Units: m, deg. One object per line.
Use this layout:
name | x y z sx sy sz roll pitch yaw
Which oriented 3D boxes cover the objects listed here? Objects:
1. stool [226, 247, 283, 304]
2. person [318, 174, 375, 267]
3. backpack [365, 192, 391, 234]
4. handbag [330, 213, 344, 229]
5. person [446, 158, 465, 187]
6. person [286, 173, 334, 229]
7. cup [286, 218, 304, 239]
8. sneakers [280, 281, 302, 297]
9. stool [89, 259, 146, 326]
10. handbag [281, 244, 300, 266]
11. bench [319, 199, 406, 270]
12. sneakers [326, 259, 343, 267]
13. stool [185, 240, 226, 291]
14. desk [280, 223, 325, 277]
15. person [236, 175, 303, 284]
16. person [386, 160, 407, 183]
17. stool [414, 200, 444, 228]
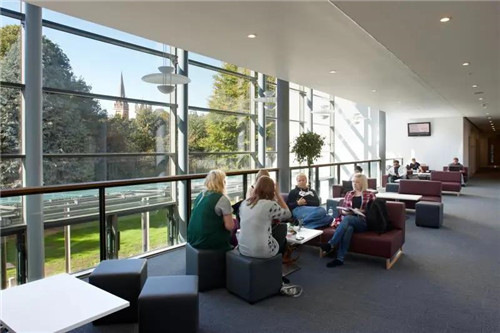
stool | 0.109 1.584 5.238 0.773 0.681 0.797 10 17 38
person | 1.898 1.105 6.696 1.286 2.056 0.853 24 -25 -30
backpack | 2.347 0.887 6.196 0.475 0.598 0.254 0 -5 -3
handbag | 1.709 1.073 6.541 0.261 0.081 0.198 -50 22 -17
person | 9.043 0.224 14.901 0.631 1.202 0.696 -1 -6 30
person | 1.172 0.696 6.768 0.705 1.137 0.869 5 -8 -37
cup | 0.792 1.134 5.938 0.212 0.139 0.309 1 3 37
sneakers | 0.604 1.864 5.137 0.185 0.100 0.256 10 -10 -36
stool | -1.726 1.734 4.816 0.774 0.744 0.767 1 -3 0
handbag | 0.735 1.627 6.226 0.294 0.392 0.405 3 -3 -43
bench | 2.236 1.236 6.661 1.444 1.009 1.394 3 5 29
sneakers | 1.496 1.719 6.017 0.309 0.111 0.118 3 -5 -19
stool | -0.706 1.578 5.424 0.530 0.540 0.530 4 1 -27
desk | 0.845 1.448 5.882 0.754 0.461 0.776 0 2 36
person | 0.223 1.008 5.356 0.730 1.572 0.948 5 12 43
person | 5.501 0.210 12.705 0.701 0.987 0.550 1 26 28
stool | 4.432 1.182 8.355 0.733 0.556 0.734 0 4 -1
